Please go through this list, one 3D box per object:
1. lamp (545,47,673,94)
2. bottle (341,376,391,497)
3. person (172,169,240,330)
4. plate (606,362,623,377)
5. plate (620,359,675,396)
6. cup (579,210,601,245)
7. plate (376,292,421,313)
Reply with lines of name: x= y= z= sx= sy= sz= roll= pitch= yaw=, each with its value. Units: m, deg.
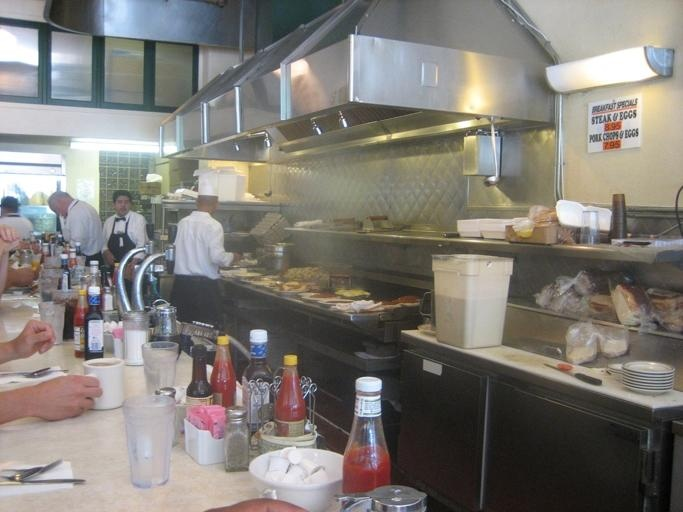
lamp: x=1.556 y=-1.089 z=3.238 sx=0.240 sy=0.166 sz=0.646 roll=-7 pitch=9 yaw=-43
bottle: x=0.055 y=0.455 z=1.354 sx=0.122 sy=0.315 sz=0.236 roll=-1 pitch=7 yaw=3
person: x=-1.336 y=0.231 z=5.372 sx=0.615 sy=2.017 sz=0.570 roll=14 pitch=24 yaw=16
plate: x=1.243 y=0.513 z=2.507 sx=0.066 sy=0.022 sz=0.065 roll=3 pitch=11 yaw=26
plate: x=1.319 y=0.511 z=2.321 sx=0.256 sy=0.114 sz=0.123 roll=-3 pitch=7 yaw=-13
cup: x=1.360 y=-0.163 z=3.018 sx=0.103 sy=0.195 sz=0.157 roll=1 pitch=7 yaw=23
plate: x=0.412 y=0.331 z=3.891 sx=0.284 sy=0.030 sz=0.422 roll=0 pitch=6 yaw=11
